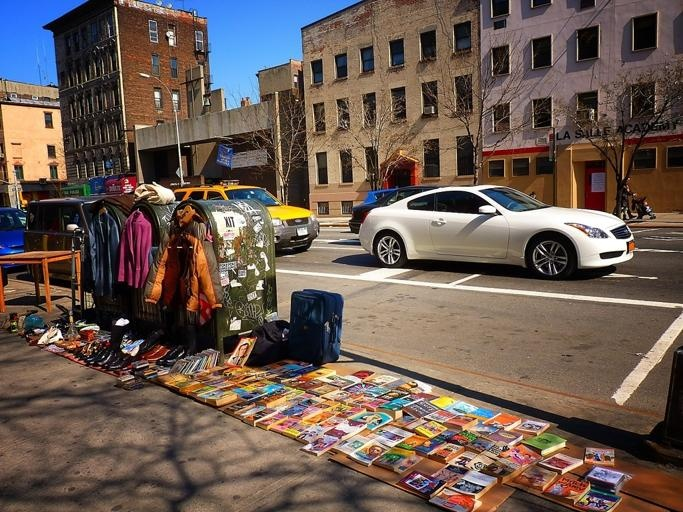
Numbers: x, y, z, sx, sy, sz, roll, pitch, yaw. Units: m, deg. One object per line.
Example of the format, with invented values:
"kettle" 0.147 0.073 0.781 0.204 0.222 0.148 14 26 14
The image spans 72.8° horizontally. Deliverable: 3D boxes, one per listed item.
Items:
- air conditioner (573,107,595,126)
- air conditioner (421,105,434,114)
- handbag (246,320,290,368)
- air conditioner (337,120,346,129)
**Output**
"air conditioner" 13.355 -7.794 25.611 0.663 0.991 1.199 -4 6 -41
"air conditioner" 5.535 -9.558 30.024 0.813 0.629 0.442 5 9 38
"handbag" -0.894 1.094 5.825 0.372 0.182 0.600 -2 9 10
"air conditioner" -0.027 -9.736 34.021 0.701 0.586 0.169 0 1 41
